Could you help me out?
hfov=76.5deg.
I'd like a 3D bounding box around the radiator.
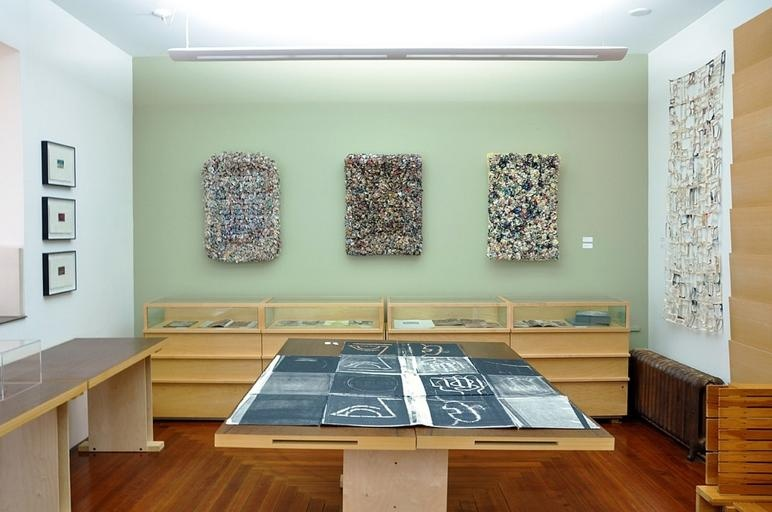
[{"bbox_3d":[2.990,1.526,5.061,0.398,0.598,1.199,1,2,-1],"label":"radiator"}]
